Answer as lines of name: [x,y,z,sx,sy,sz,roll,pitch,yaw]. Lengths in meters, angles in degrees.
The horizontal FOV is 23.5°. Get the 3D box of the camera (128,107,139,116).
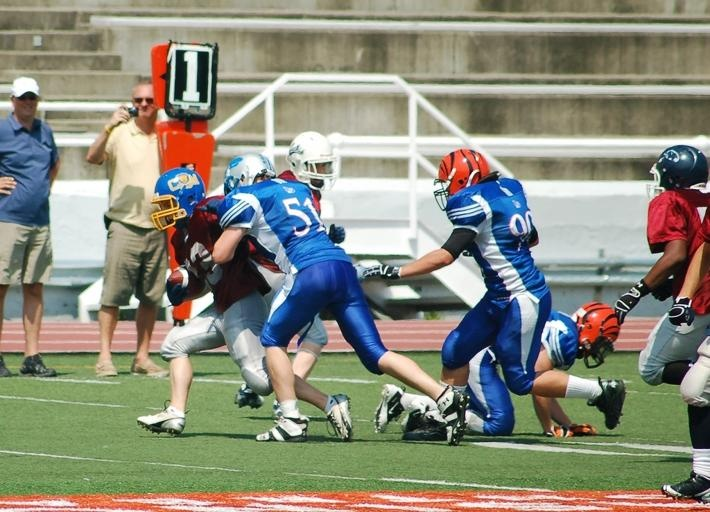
camera: [-2.240,-1.460,17.244,0.102,0.085,0.073,3,1,21]

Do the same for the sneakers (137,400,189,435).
sneakers: [-1.699,1.449,14.932,0.413,0.274,0.273,3,6,-6]

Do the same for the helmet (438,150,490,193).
helmet: [1.028,-0.761,15.433,0.462,0.373,0.366,0,3,22]

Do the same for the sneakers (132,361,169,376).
sneakers: [-2.083,1.148,17.293,0.333,0.122,0.157,2,0,6]

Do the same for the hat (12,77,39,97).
hat: [-3.320,-1.689,17.083,0.237,0.170,0.326,-2,9,-19]

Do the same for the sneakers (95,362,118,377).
sneakers: [-2.502,1.140,17.216,0.220,0.144,0.208,3,5,-8]

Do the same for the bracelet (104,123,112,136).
bracelet: [-2.486,-1.276,17.255,0.096,0.100,0.096,13,-4,-37]

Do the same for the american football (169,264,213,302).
american football: [-1.485,0.265,15.073,0.349,0.324,0.254,13,-5,5]

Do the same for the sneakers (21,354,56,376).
sneakers: [-3.110,1.110,17.080,0.451,0.205,0.159,3,1,20]
